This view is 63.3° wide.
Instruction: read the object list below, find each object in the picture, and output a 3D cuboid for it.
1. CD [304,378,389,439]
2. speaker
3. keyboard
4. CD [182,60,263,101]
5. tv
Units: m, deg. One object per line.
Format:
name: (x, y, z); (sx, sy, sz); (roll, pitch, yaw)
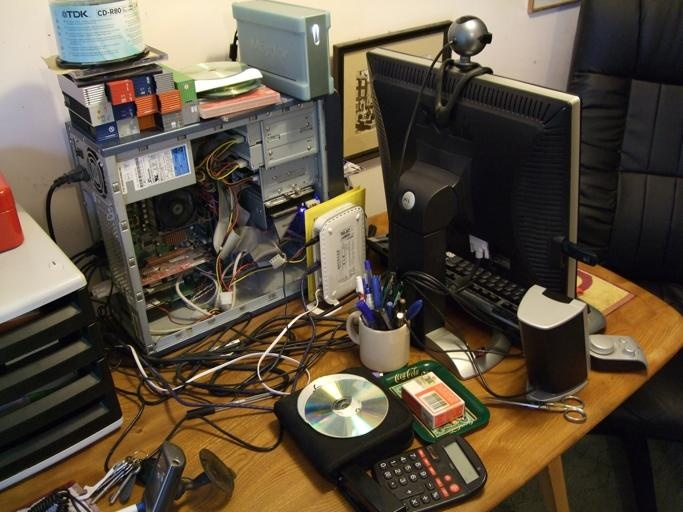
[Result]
CD: (0.003, 0.309, 1.147); (0.190, 0.016, 0.152); (0, 34, 5)
speaker: (0.454, 0.190, 1.178); (0.159, 0.207, 0.146); (15, 37, 27)
keyboard: (0.317, 0.080, 1.258); (0.275, 0.079, 0.388); (-18, 34, -41)
CD: (-0.283, -0.415, 1.304); (0.122, 0.031, 0.128); (2, 30, 2)
tv: (0.286, -0.116, 1.368); (0.431, 0.664, 0.741); (13, 47, 14)
